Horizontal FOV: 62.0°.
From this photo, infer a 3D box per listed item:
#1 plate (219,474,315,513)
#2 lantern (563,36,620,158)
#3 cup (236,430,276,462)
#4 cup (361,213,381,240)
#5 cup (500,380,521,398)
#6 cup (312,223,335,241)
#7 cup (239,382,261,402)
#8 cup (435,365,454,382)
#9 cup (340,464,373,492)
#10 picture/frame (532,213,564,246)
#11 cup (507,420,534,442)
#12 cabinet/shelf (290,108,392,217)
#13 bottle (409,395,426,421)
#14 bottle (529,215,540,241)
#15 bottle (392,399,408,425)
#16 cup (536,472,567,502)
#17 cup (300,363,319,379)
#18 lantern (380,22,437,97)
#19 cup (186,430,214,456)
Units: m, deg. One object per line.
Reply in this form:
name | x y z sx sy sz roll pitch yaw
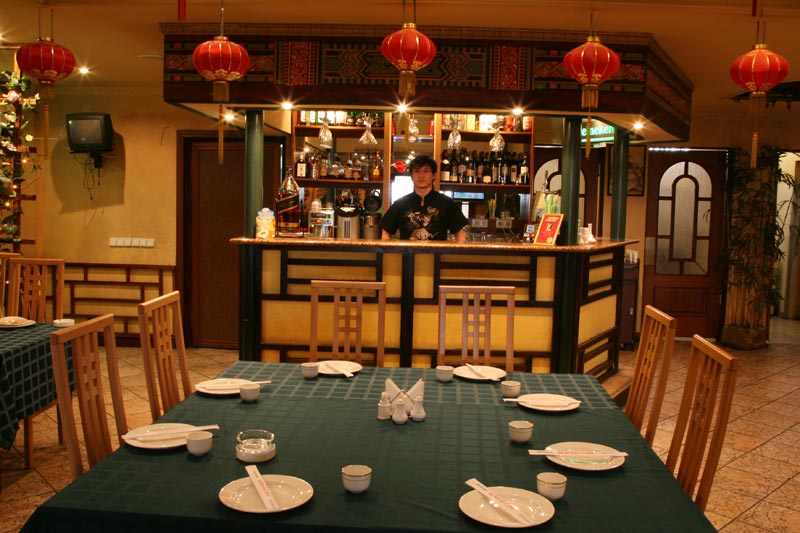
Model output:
plate | -0.563 0.957 2.803 0.392 0.074 0.210 1 10 -4
lantern | 1.476 -1.341 5.209 0.395 0.938 1.028 4 11 15
cup | -0.656 0.815 3.030 0.147 0.083 0.146 1 1 0
cup | -0.306 -0.434 6.978 0.188 0.256 0.264 1 11 -1
cup | 0.613 0.675 3.686 0.087 0.058 0.088 1 -3 0
cup | -0.685 -0.332 6.033 0.124 0.133 0.324 6 11 23
cup | -0.799 0.663 3.518 0.086 0.068 0.098 1 0 44
cup | 0.259 0.621 3.861 0.088 0.060 0.086 2 2 0
cup | -0.190 0.902 2.899 0.134 0.093 0.179 1 11 -4
picture/frame | 1.261 -0.324 5.707 0.232 0.253 0.349 6 11 21
cup | 0.584 0.790 3.223 0.100 0.065 0.104 1 -5 0
cabinet/shelf | -0.649 -1.135 7.285 1.278 1.150 0.441 1 8 2
bottle | 0.087 0.721 3.367 0.105 0.133 0.102 0 -3 0
bottle | 1.252 -0.353 6.069 0.056 0.206 0.144 17 -8 -8
bottle | 0.020 0.738 3.399 0.112 0.142 0.106 0 0 0
cup | 0.641 0.926 2.818 0.108 0.071 0.116 0 -2 0
cup | -0.524 0.599 3.836 0.080 0.056 0.092 -2 -4 37
lantern | 0.070 -1.407 4.488 0.353 0.514 0.494 -1 11 -10
cup | -0.916 0.802 3.039 0.098 0.068 0.108 1 -5 0
